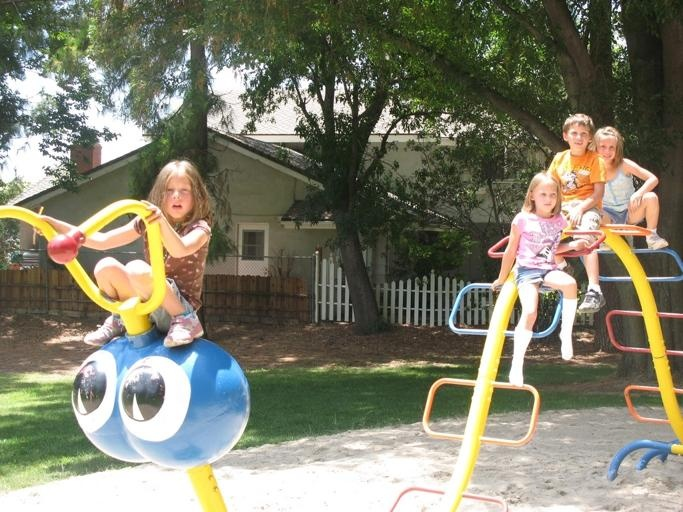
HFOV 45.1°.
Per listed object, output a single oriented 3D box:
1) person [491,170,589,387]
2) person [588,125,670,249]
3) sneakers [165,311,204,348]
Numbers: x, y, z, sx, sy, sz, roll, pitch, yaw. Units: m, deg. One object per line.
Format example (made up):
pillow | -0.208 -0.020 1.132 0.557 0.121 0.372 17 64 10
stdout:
person | 1.962 0.193 8.092 0.850 2.070 0.904 -2 -2 17
person | 3.044 -0.732 9.165 0.921 1.418 0.853 -9 3 4
sneakers | -1.309 0.600 6.826 0.221 0.254 0.650 -12 1 7
